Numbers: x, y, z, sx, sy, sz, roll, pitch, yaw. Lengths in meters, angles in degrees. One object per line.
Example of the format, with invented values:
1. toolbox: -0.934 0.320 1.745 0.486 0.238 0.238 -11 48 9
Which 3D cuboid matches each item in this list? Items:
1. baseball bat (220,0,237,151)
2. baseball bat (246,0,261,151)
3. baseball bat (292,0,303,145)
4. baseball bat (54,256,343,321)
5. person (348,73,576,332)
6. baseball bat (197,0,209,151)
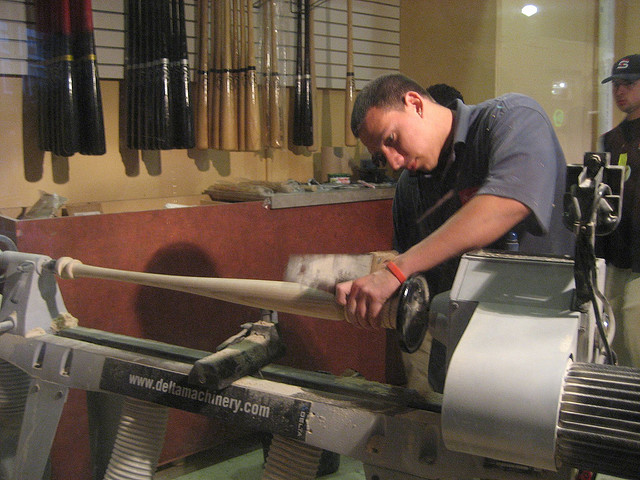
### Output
1. baseball bat: -0.452 -0.788 2.817 0.077 0.689 0.094 -2 9 -10
2. baseball bat: -0.322 -0.785 2.850 0.079 0.686 0.066 -8 12 -41
3. baseball bat: -0.114 -0.877 3.094 0.057 0.728 0.056 -1 9 -3
4. baseball bat: -0.462 0.167 2.013 1.012 0.133 0.116 8 -25 11
5. person: 0.281 -0.176 1.829 0.764 0.669 0.737 -7 12 -32
6. baseball bat: -0.563 -0.787 2.800 0.068 0.675 0.090 -2 9 -12
